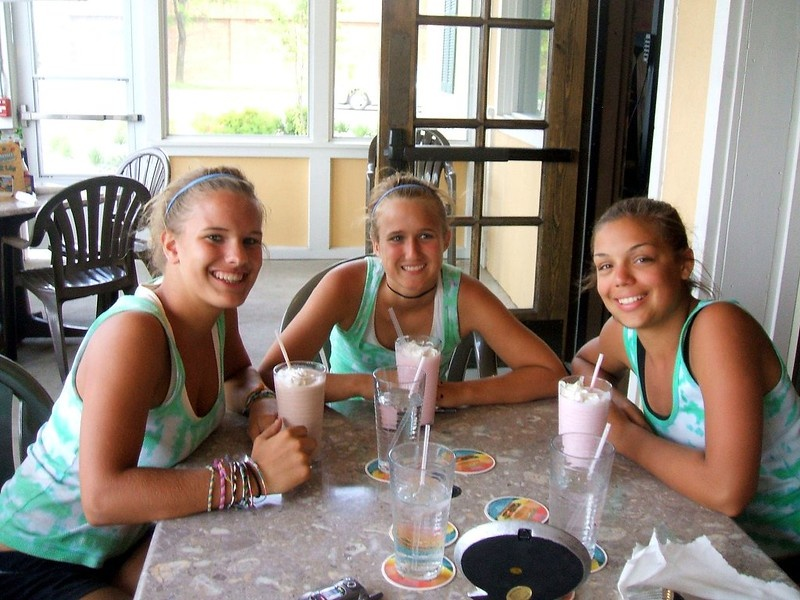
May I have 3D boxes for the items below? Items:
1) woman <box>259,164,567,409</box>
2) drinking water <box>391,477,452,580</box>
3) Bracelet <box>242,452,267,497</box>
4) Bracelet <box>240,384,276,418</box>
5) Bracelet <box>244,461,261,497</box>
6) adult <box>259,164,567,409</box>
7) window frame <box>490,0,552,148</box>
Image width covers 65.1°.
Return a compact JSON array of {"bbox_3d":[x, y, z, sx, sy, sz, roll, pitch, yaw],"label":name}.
[{"bbox_3d":[0.049,0.003,2.066,1.075,0.811,0.661,3,0,-6],"label":"woman"},{"bbox_3d":[0.041,0.399,1.107,0.105,0.174,0.071,-4,16,-2],"label":"drinking water"},{"bbox_3d":[-0.288,0.356,1.301,0.017,0.065,0.065,-28,33,-1],"label":"Bracelet"},{"bbox_3d":[-0.373,0.268,1.683,0.033,0.081,0.067,28,-8,5],"label":"Bracelet"},{"bbox_3d":[-0.301,0.368,1.297,0.022,0.059,0.048,-13,7,-31],"label":"Bracelet"},{"bbox_3d":[0.027,0.000,2.054,1.075,0.811,0.661,3,0,-6],"label":"adult"},{"bbox_3d":[0.601,-1.129,3.141,0.361,0.697,0.100,-10,18,-21],"label":"window frame"}]
